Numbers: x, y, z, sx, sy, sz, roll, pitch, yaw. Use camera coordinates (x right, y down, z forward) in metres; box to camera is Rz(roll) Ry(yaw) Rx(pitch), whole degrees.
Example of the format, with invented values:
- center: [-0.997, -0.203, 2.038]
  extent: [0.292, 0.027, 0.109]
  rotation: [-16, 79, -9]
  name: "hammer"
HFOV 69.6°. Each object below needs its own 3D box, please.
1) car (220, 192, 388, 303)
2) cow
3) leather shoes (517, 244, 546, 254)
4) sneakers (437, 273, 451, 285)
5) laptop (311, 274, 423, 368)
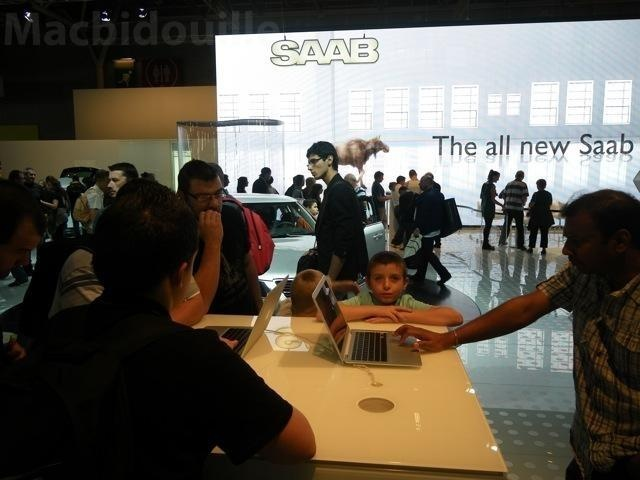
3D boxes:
- center: [0.289, -0.147, 6.301]
  extent: [1.111, 1.267, 2.437]
  rotation: [14, 5, 11]
  name: "car"
- center: [0.999, -2.044, 11.999]
  extent: [1.579, 1.212, 0.418]
  rotation: [5, 14, 30]
  name: "cow"
- center: [4.529, 0.190, 9.783]
  extent: [0.364, 0.166, 0.119]
  rotation: [12, 11, 25]
  name: "leather shoes"
- center: [1.824, 0.565, 6.710]
  extent: [0.131, 0.186, 0.043]
  rotation: [39, 1, -42]
  name: "sneakers"
- center: [0.209, 0.330, 2.030]
  extent: [0.460, 0.307, 0.485]
  rotation: [-2, 6, 0]
  name: "laptop"
